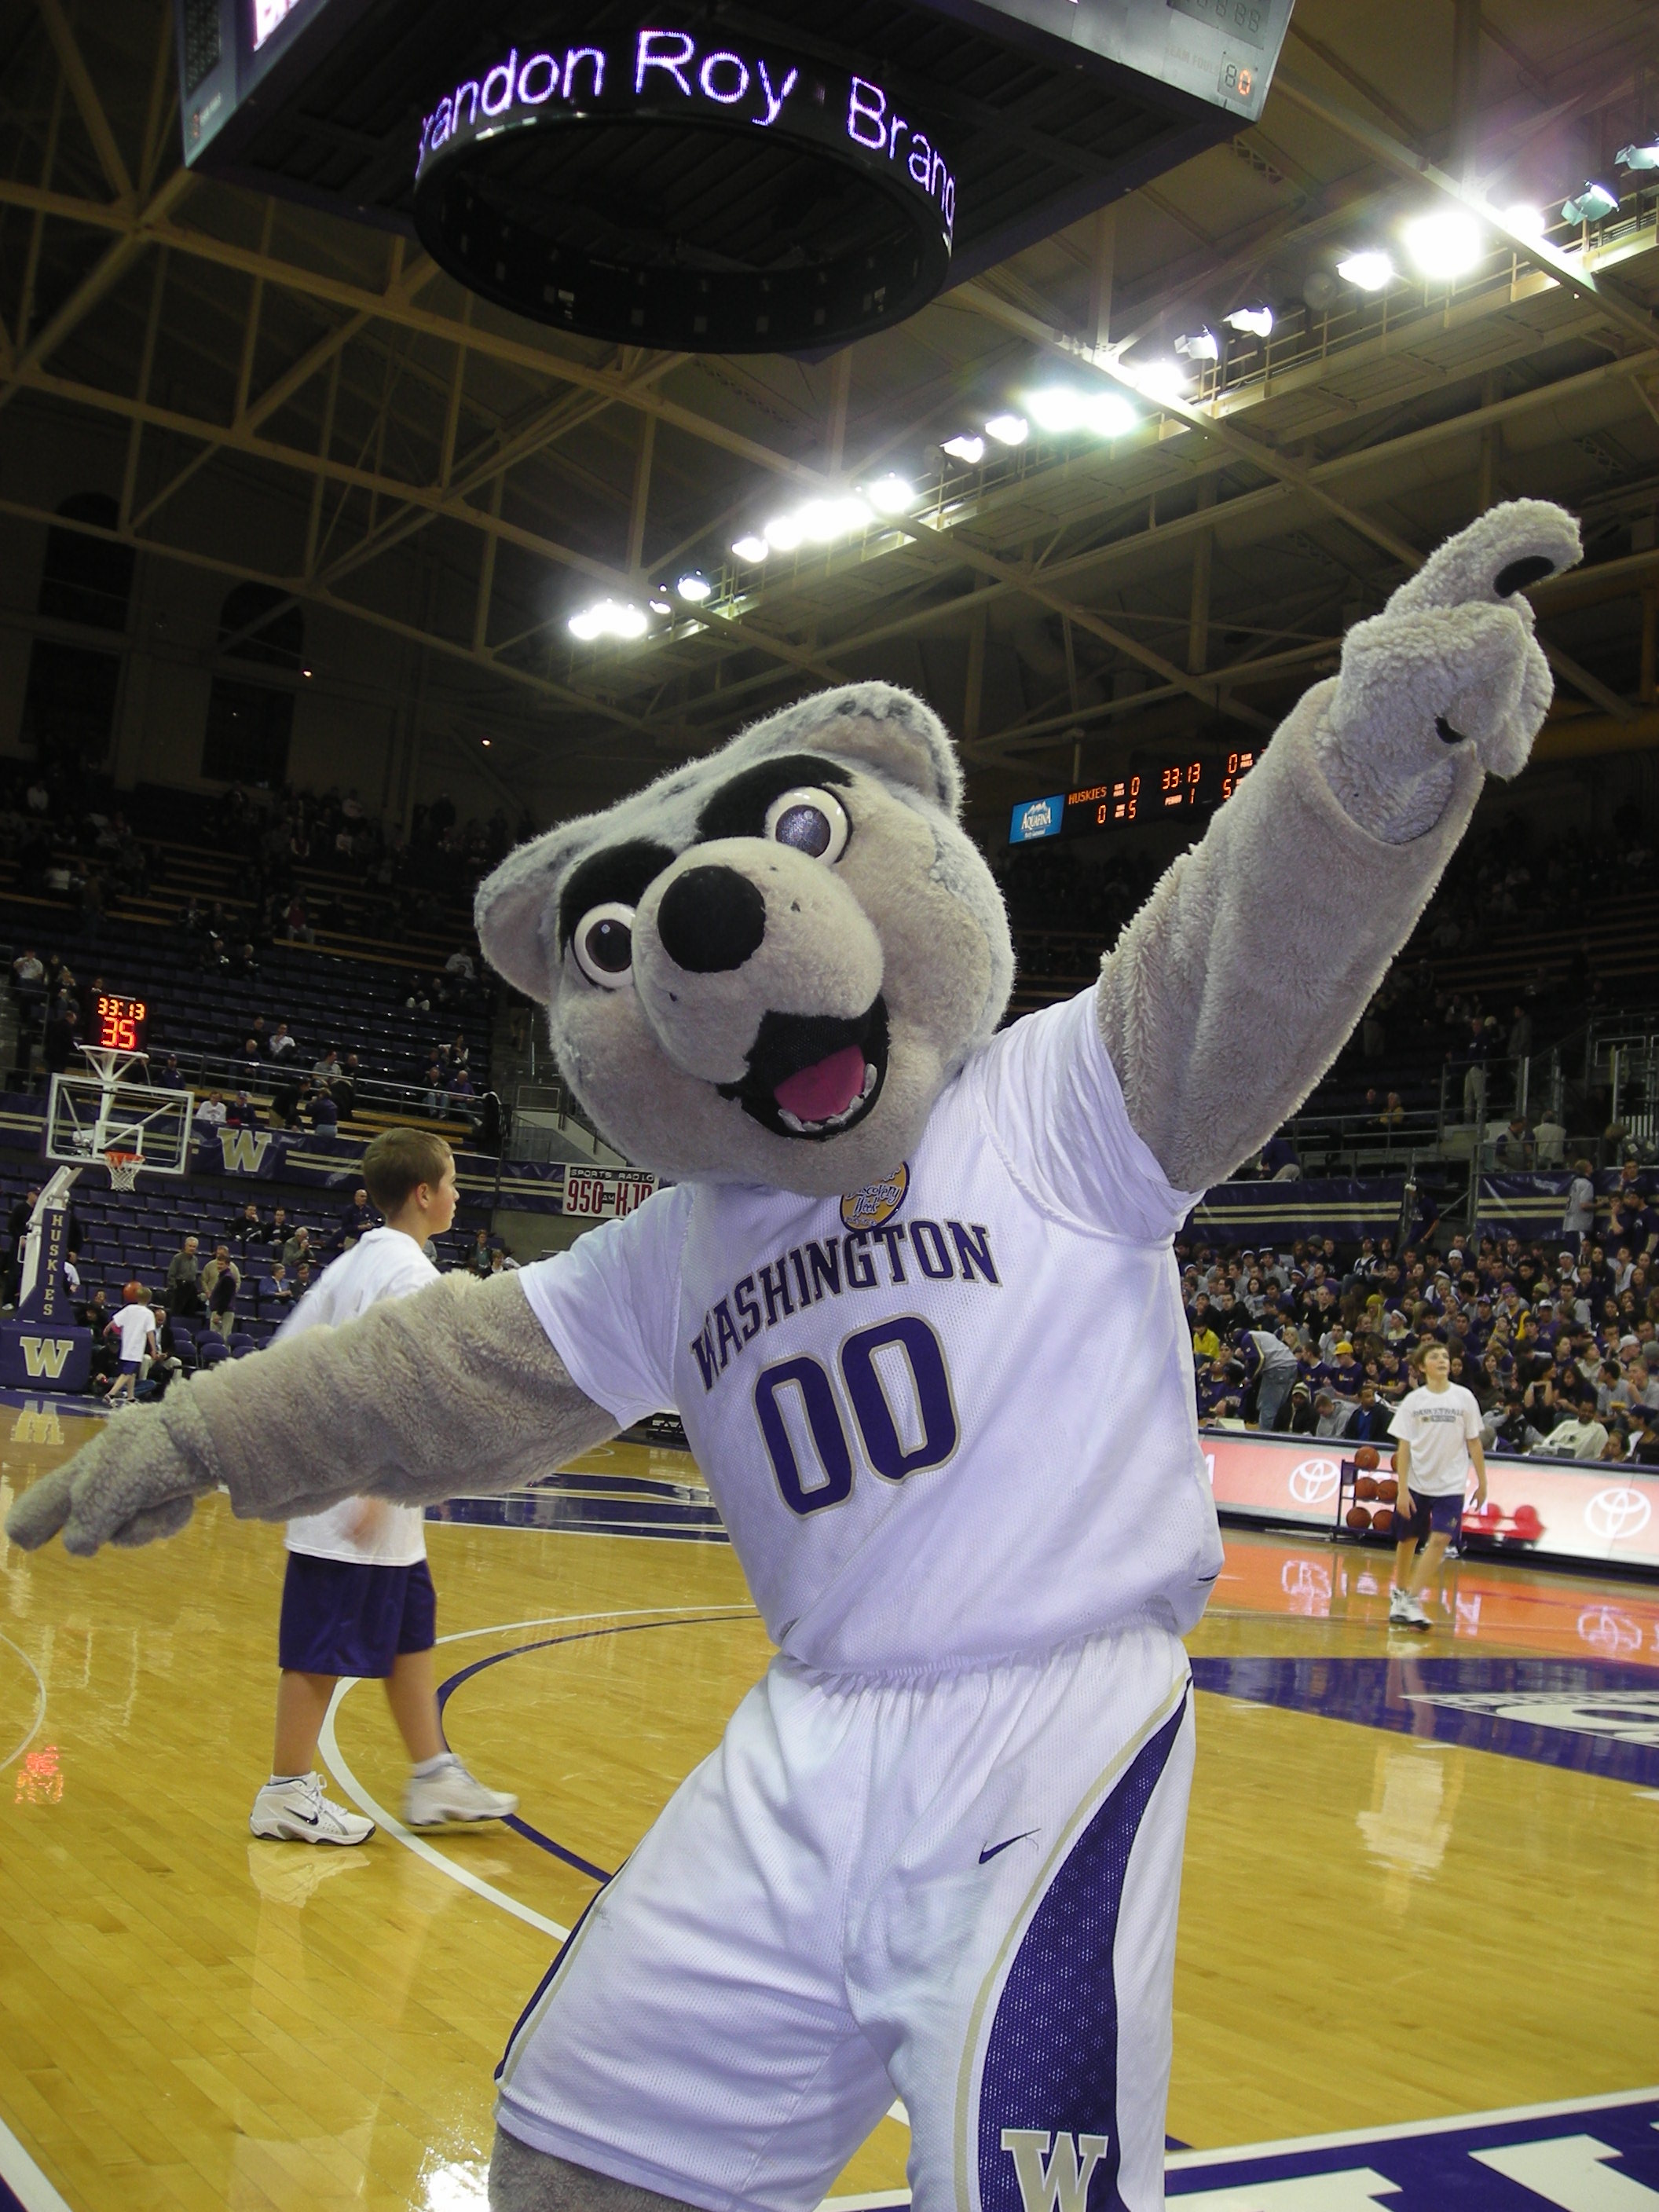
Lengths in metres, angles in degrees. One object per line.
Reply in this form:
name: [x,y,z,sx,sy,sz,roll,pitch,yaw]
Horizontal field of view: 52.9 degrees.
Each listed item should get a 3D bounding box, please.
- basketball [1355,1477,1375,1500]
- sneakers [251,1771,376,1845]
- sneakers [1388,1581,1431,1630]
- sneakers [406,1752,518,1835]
basketball: [3.975,2.831,12.293,0.151,0.152,0.142,4,0,-21]
sneakers: [-1.126,1.603,3.780,0.344,0.174,0.123,4,0,-10]
sneakers: [3.132,2.705,8.902,0.144,0.151,0.407,-1,-20,14]
sneakers: [-0.909,1.640,4.039,0.308,0.179,0.138,-2,5,-15]
